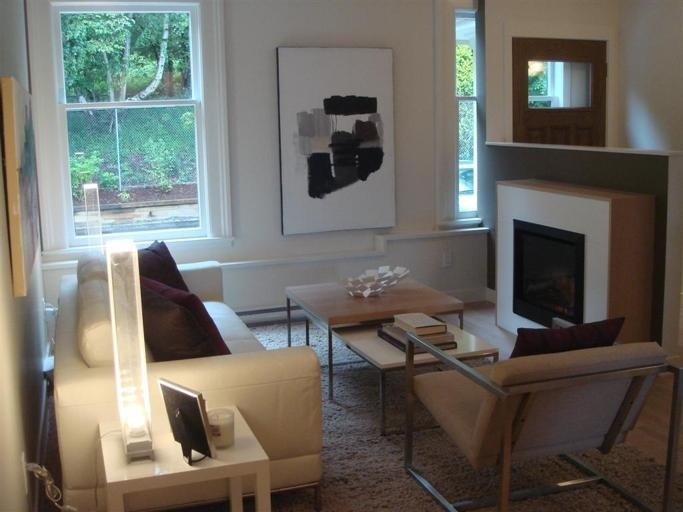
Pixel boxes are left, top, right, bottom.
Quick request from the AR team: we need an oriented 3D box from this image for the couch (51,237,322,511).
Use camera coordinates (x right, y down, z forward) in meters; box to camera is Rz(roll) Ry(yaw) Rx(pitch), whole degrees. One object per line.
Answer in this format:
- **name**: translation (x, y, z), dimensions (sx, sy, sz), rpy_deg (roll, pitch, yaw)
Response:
- **couch**: translation (-0.755, 0.693, 2.819), dimensions (0.901, 0.727, 1.684), rpy_deg (-3, 13, -19)

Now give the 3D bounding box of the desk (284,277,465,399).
- **desk**: translation (0.108, 0.369, 4.072), dimensions (0.864, 0.464, 0.868), rpy_deg (-4, 10, -24)

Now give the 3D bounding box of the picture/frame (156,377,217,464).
- **picture/frame**: translation (-0.608, 0.643, 2.280), dimensions (0.085, 0.276, 0.237), rpy_deg (-26, 23, -38)

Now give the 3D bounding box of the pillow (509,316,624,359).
- **pillow**: translation (0.977, 0.346, 2.484), dimensions (0.535, 0.125, 0.208), rpy_deg (-7, 15, -21)

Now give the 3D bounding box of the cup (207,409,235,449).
- **cup**: translation (-0.456, 0.678, 2.324), dimensions (0.118, 0.133, 0.115), rpy_deg (0, 13, 0)
